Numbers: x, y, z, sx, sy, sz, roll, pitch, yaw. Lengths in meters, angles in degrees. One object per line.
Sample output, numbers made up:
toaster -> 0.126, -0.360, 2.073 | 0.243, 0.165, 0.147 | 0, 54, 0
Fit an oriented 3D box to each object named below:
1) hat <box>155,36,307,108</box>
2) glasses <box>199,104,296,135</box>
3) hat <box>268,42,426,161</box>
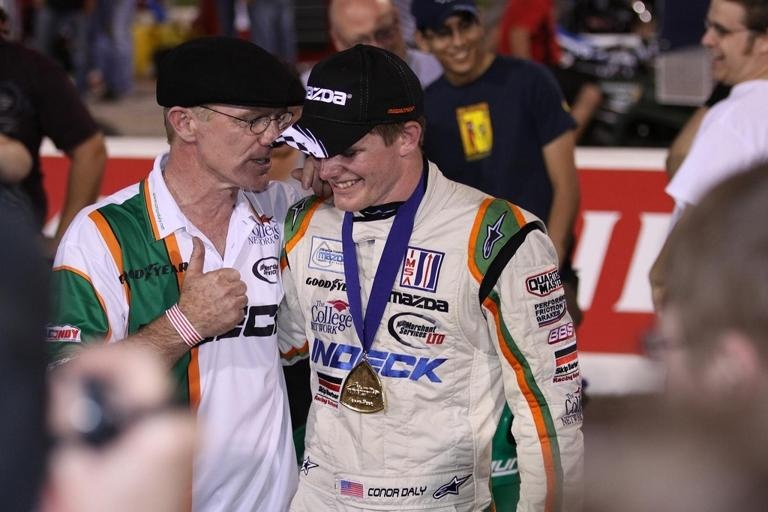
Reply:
hat -> -0.595, -0.691, 3.440 | 0.585, 0.240, 0.456 | 0, 3, -17
glasses -> -0.477, -0.514, 3.335 | 0.180, 0.056, 0.175 | 33, 26, 28
hat -> -0.126, -0.579, 3.128 | 0.549, 0.332, 0.371 | -23, 34, -28
